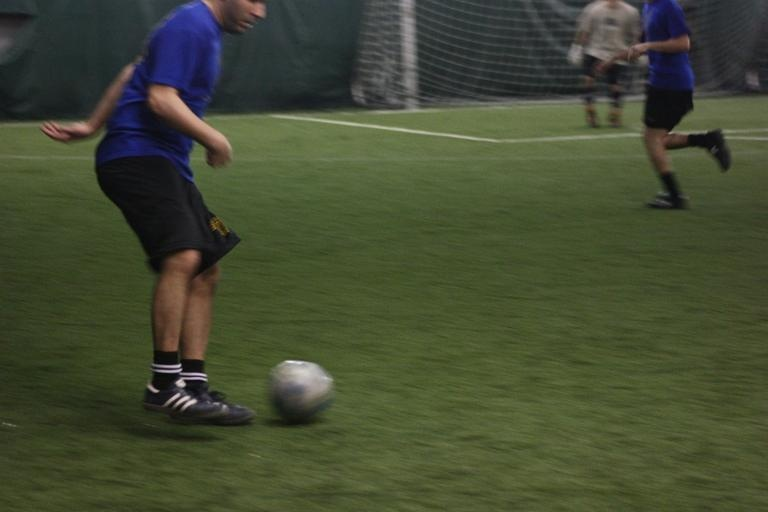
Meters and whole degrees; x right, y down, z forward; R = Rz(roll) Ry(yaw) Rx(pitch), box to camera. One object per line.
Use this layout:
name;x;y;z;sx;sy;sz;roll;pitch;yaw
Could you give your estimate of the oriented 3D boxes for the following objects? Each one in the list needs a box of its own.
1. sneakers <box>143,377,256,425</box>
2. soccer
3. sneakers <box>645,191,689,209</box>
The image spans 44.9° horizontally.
sneakers;-0.935;0.735;4.676;0.673;0.180;0.187;6;-9;-1
soccer;-0.414;0.659;4.635;0.371;0.203;0.341;-13;-30;44
sneakers;2.476;-0.491;8.254;0.451;0.121;0.127;3;8;20
